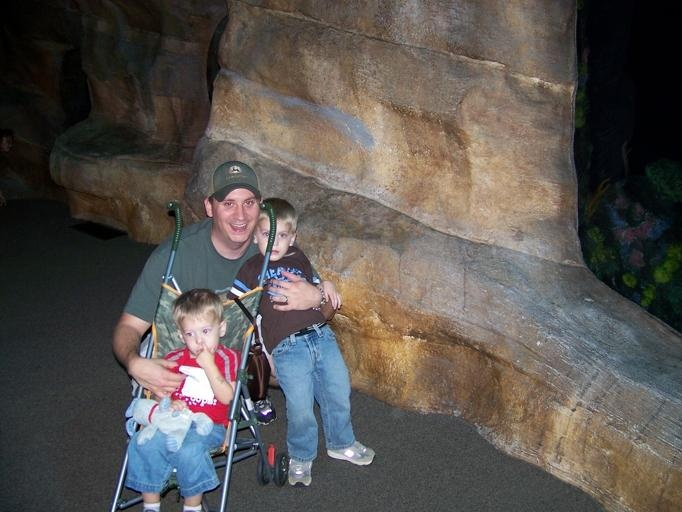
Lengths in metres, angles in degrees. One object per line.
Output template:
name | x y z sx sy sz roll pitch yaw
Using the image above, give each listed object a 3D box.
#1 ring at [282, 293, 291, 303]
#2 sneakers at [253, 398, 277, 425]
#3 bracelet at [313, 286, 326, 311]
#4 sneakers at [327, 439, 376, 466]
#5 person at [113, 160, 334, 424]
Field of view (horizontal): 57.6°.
ring | -0.355 0.269 4.022 0.040 0.063 0.023 0 2 11
sneakers | -0.543 1.118 4.427 0.147 0.091 0.226 -10 22 -20
bracelet | -0.125 0.282 4.114 0.076 0.134 0.134 0 -25 2
sneakers | 0.092 1.358 4.302 0.275 0.142 0.159 3 26 11
person | -0.732 0.153 3.975 1.497 1.446 0.832 -7 15 -36
